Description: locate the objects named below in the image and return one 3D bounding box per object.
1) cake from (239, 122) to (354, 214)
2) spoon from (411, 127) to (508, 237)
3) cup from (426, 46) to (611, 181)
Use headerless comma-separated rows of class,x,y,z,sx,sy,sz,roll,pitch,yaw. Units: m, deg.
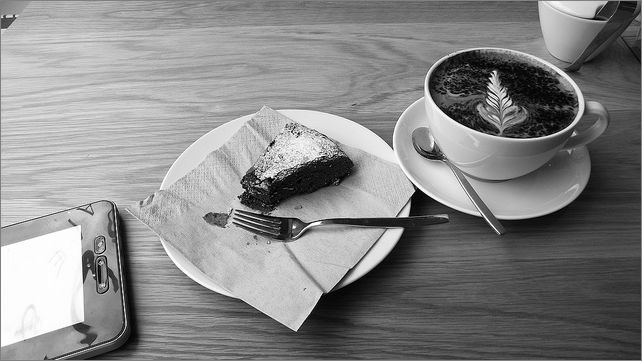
cake,-0.076,-0.020,1.764,0.323,0.106,0.258,-32,57,-23
spoon,0.356,-0.019,1.730,0.131,0.077,0.541,-14,57,-30
cup,0.547,-0.187,1.708,0.555,0.263,0.393,11,51,20
